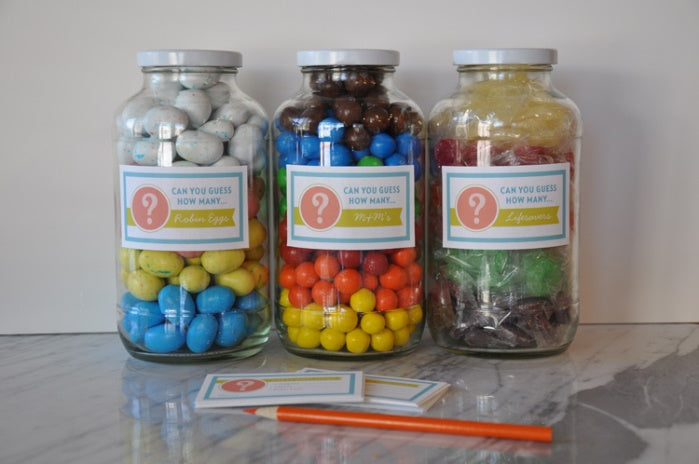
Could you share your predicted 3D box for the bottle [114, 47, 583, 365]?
[{"bbox_3d":[-0.003,-0.031,1.270,0.698,0.401,0.232,-1,6,-1],"label":"bottle"}]
